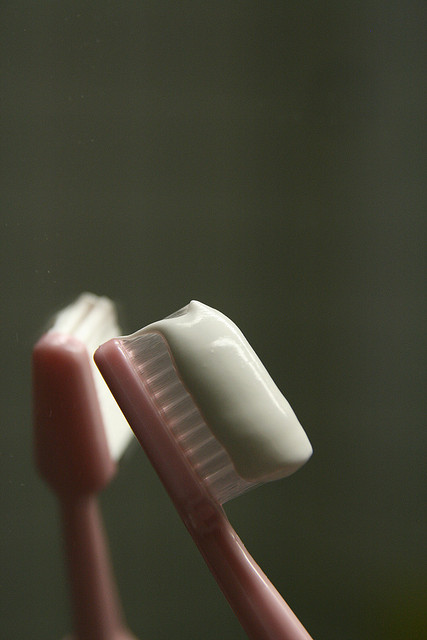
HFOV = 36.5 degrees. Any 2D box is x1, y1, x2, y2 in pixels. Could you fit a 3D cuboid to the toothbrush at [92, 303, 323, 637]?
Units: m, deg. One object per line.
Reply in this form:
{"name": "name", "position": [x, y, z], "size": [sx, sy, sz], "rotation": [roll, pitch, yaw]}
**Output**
{"name": "toothbrush", "position": [-0.008, 0.065, 0.289], "size": [0.052, 0.047, 0.166], "rotation": [-29, 98, -27]}

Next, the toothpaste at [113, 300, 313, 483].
{"name": "toothpaste", "position": [-0.001, 0.030, 0.269], "size": [0.023, 0.044, 0.069], "rotation": [-36, 85, 34]}
